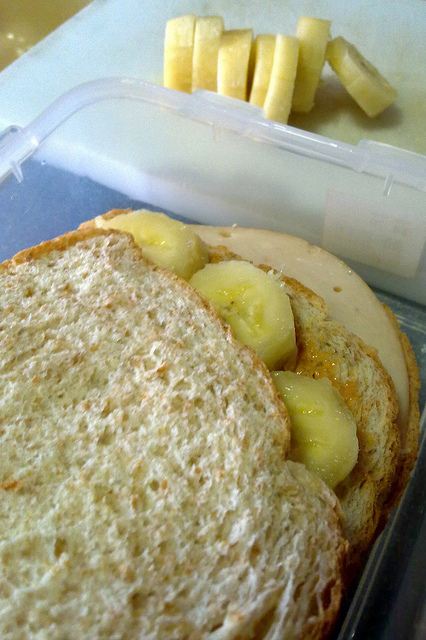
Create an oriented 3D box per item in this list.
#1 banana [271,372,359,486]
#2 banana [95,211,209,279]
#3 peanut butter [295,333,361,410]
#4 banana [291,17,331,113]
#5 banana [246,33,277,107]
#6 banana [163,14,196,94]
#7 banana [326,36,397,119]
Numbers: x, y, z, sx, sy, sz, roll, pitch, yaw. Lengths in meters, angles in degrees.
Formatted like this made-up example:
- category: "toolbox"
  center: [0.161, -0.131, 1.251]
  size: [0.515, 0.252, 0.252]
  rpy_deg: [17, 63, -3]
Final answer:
- category: "banana"
  center: [0.126, 0.138, 0.690]
  size: [0.127, 0.034, 0.122]
  rpy_deg: [33, 65, -13]
- category: "banana"
  center: [-0.084, -0.120, 0.904]
  size: [0.158, 0.046, 0.142]
  rpy_deg: [-6, -17, 43]
- category: "peanut butter"
  center: [0.158, 0.071, 0.812]
  size: [0.076, 0.093, 0.065]
  rpy_deg: [-5, 26, 12]
- category: "banana"
  center: [0.220, -0.619, 1.369]
  size: [0.069, 0.194, 0.104]
  rpy_deg: [-4, 40, 2]
- category: "banana"
  center: [0.110, -0.577, 1.302]
  size: [0.041, 0.154, 0.141]
  rpy_deg: [6, 72, -7]
- category: "banana"
  center: [-0.098, -0.674, 1.388]
  size: [0.071, 0.194, 0.142]
  rpy_deg: [-10, 49, -13]
- category: "banana"
  center: [0.365, -0.614, 1.440]
  size: [0.205, 0.178, 0.210]
  rpy_deg: [8, 39, 21]
